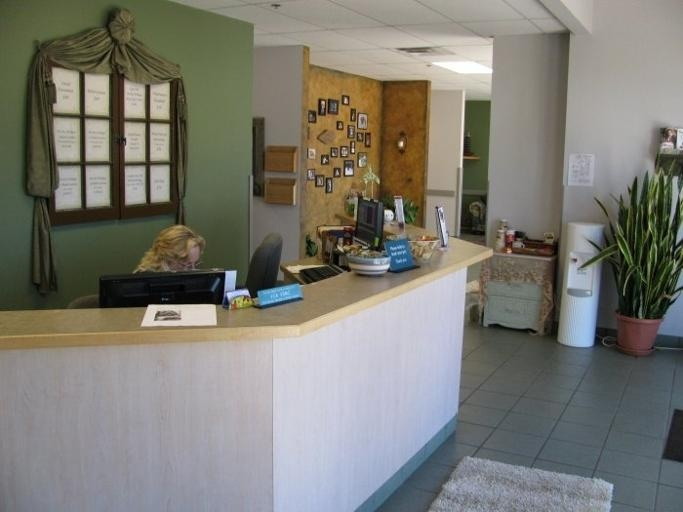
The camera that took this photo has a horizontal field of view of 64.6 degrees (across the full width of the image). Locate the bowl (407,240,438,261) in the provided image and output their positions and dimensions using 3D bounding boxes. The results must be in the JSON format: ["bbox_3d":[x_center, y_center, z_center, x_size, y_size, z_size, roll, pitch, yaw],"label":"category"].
[{"bbox_3d":[0.608,-0.048,3.917,0.231,0.139,0.108,-4,12,-21],"label":"bowl"}]

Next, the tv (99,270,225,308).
[{"bbox_3d":[-0.889,0.167,2.695,0.608,0.173,0.075,-2,12,-10],"label":"tv"}]

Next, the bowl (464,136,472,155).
[{"bbox_3d":[3.173,-2.775,13.510,0.181,0.486,0.585,4,12,19],"label":"bowl"}]

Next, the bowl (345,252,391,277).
[{"bbox_3d":[0.179,0.054,3.445,0.283,0.130,0.199,0,12,-2],"label":"bowl"}]

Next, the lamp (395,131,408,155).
[{"bbox_3d":[1.122,-2.156,10.220,0.223,0.409,0.085,6,13,27],"label":"lamp"}]

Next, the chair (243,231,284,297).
[{"bbox_3d":[-0.559,0.033,4.303,0.375,0.617,0.431,-1,14,-5],"label":"chair"}]

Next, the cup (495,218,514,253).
[{"bbox_3d":[1.955,-0.243,6.484,0.200,0.346,0.331,4,12,16],"label":"cup"}]
